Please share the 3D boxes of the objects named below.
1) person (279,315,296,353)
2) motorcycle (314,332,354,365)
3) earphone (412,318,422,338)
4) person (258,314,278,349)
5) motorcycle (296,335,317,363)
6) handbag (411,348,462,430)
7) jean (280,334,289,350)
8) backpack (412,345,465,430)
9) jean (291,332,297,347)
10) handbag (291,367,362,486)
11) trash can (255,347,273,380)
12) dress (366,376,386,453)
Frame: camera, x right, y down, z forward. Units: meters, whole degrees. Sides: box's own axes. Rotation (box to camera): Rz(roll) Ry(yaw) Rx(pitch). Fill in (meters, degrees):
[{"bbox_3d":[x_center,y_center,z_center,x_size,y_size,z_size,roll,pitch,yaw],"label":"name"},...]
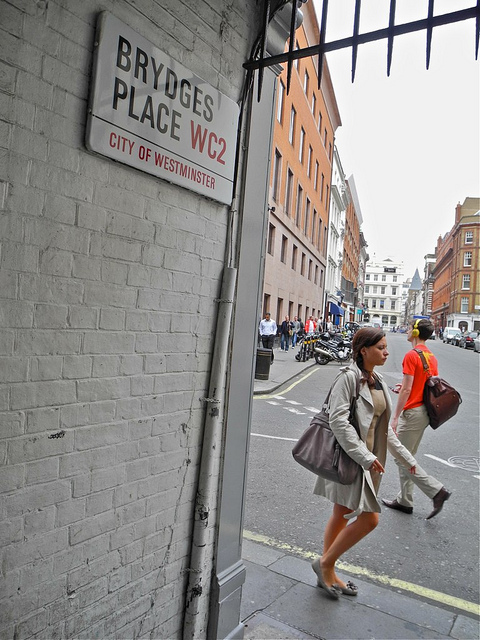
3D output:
[{"bbox_3d":[2.391,0.699,21.915,0.593,1.493,1.512,3,-1,6],"label":"person"},{"bbox_3d":[4.076,1.236,18.722,1.915,1.026,1.582,5,-1,-39],"label":"motorcycle"},{"bbox_3d":[1.796,0.070,4.344,0.037,0.149,0.111,5,-18,17],"label":"earphone"},{"bbox_3d":[1.084,0.348,16.664,0.615,1.094,1.100,3,-1,4],"label":"person"},{"bbox_3d":[2.960,1.230,19.035,0.572,1.138,1.577,-1,-9,21],"label":"motorcycle"},{"bbox_3d":[1.958,0.653,4.303,0.400,0.786,0.323,-14,0,-34],"label":"handbag"},{"bbox_3d":[2.295,1.017,21.974,0.547,0.471,1.241,10,-15,14],"label":"jean"},{"bbox_3d":[1.945,0.640,4.321,0.374,0.767,0.331,-16,4,-19],"label":"backpack"},{"bbox_3d":[3.342,1.119,26.467,0.289,0.699,2.233,3,-1,9],"label":"jean"},{"bbox_3d":[0.576,0.651,2.735,0.278,0.778,0.201,15,-23,27],"label":"handbag"},{"bbox_3d":[0.667,1.184,11.905,0.410,0.746,0.796,3,-1,5],"label":"trash can"},{"bbox_3d":[0.871,0.603,2.745,0.058,0.336,0.168,1,-2,45],"label":"dress"}]
